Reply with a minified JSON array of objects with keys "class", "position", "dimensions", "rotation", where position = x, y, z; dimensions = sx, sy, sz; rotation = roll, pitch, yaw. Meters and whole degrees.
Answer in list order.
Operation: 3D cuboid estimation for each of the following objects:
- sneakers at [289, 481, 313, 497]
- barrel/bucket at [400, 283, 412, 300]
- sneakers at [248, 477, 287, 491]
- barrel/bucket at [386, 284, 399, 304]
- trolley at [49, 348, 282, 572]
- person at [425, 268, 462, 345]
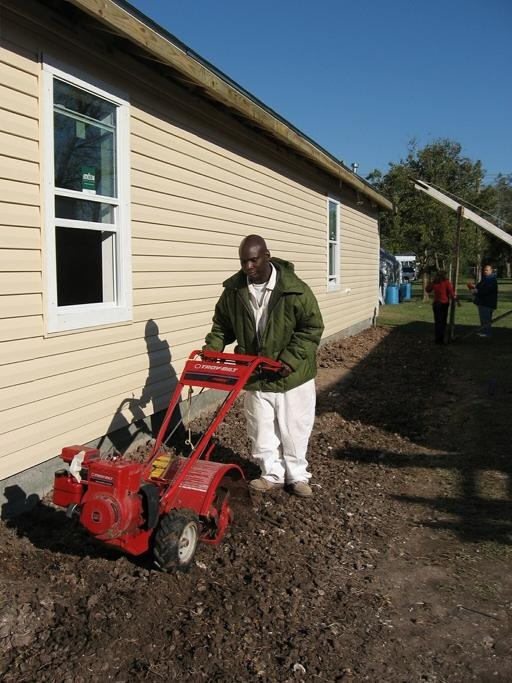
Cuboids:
[{"class":"sneakers","position":[0.365,1.178,3.998],"dimensions":[0.100,0.065,0.170],"rotation":[-6,2,-41]},{"class":"barrel/bucket","position":[8.949,-3.036,29.543],"dimensions":[0.544,1.111,2.510],"rotation":[6,6,19]},{"class":"sneakers","position":[0.101,1.142,4.033],"dimensions":[0.294,0.126,0.114],"rotation":[14,-8,-28]},{"class":"barrel/bucket","position":[7.218,-2.481,26.178],"dimensions":[0.962,0.904,0.898],"rotation":[-1,4,0]},{"class":"trolley","position":[-0.457,0.665,3.004],"dimensions":[0.722,0.917,1.359],"rotation":[9,9,28]},{"class":"person","position":[4.578,-0.870,12.253],"dimensions":[0.708,1.823,1.405],"rotation":[6,6,21]}]
